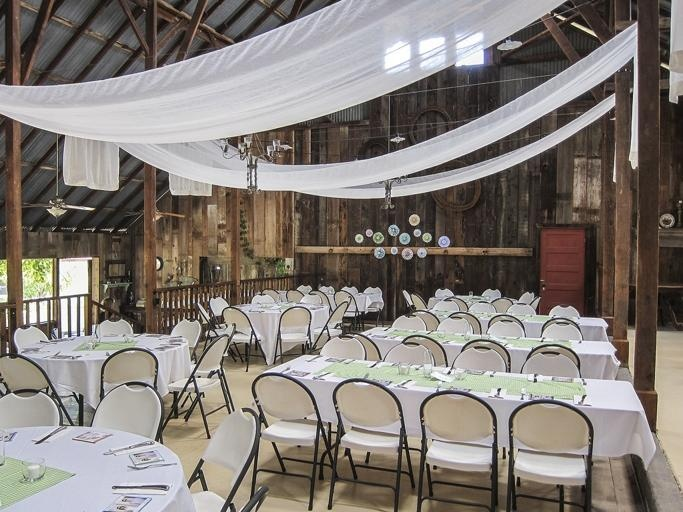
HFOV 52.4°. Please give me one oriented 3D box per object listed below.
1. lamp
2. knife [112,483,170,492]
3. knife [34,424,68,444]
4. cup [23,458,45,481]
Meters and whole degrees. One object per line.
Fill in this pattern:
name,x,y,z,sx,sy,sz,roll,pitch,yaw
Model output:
lamp,-1.201,-1.185,9.136,0.609,0.582,0.644,1,2,30
knife,-1.383,1.595,4.741,0.390,0.068,0.065,-2,0,-2
knife,-2.220,1.362,5.298,0.056,0.034,0.389,1,6,13
cup,-2.136,1.489,4.786,0.115,0.119,0.123,0,2,0
